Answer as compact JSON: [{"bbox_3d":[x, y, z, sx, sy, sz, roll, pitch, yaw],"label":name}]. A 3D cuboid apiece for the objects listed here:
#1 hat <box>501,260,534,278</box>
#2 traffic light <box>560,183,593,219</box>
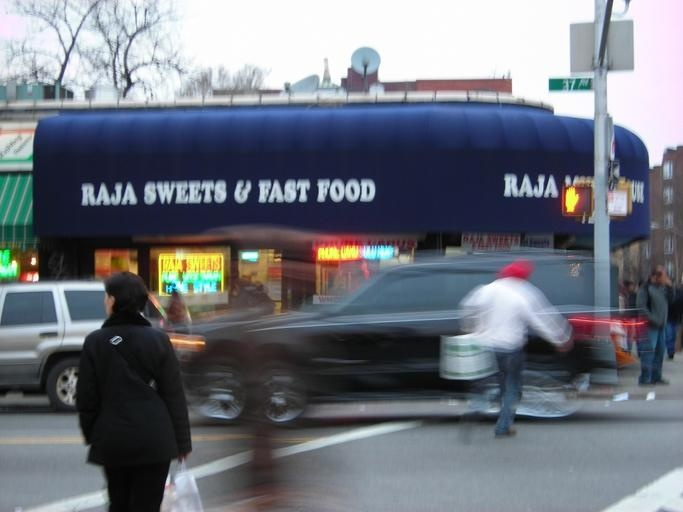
[{"bbox_3d":[2.374,0.185,11.433,0.321,0.323,0.251,16,5,6],"label":"hat"},{"bbox_3d":[4.799,-1.109,17.131,0.566,0.694,0.618,4,14,20],"label":"traffic light"}]
